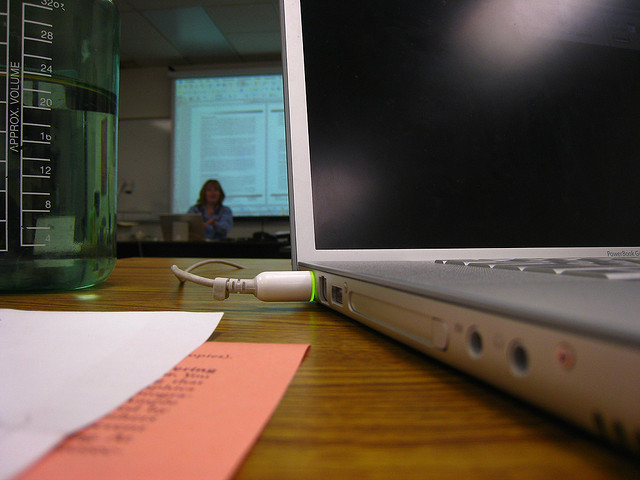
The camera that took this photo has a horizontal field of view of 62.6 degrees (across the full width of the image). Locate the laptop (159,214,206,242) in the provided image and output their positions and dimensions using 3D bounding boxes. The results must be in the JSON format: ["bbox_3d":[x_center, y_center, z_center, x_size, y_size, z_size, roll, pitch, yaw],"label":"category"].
[{"bbox_3d":[-0.683,-0.061,2.611,0.150,0.159,0.075,1,6,2],"label":"laptop"}]
